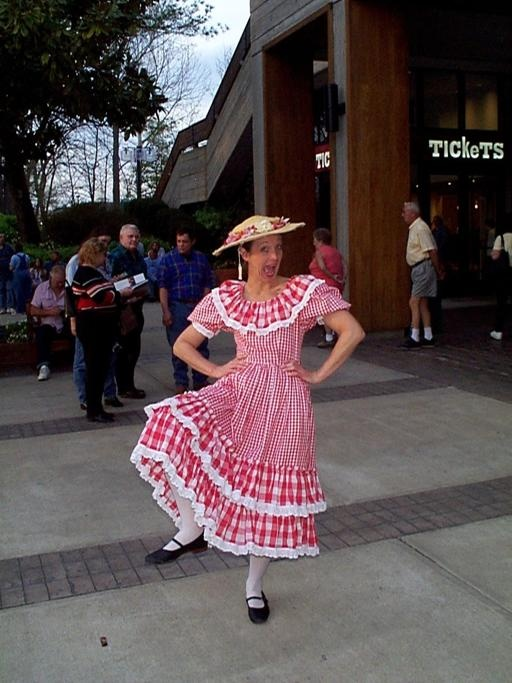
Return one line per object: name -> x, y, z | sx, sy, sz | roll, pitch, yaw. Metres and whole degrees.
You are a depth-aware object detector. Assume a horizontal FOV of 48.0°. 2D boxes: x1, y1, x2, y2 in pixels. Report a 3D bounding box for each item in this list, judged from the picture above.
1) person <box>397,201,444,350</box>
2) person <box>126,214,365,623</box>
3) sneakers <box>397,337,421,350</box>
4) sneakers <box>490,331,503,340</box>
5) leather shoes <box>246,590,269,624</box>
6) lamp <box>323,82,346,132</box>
person -> 2.608, -1.081, 9.019 | 0.554, 2.314, 0.778 | 0, 4, 18
person -> -0.034, 0.235, 2.310 | 0.917, 1.484, 0.443 | -1, 3, 11
sneakers -> 2.370, 0.044, 8.975 | 0.362, 0.190, 0.136 | 3, 2, -13
sneakers -> 3.922, -0.106, 9.363 | 0.088, 0.108, 0.258 | 1, 11, 3
leather shoes -> 0.009, 1.001, 2.172 | 0.085, 0.080, 0.128 | -2, 3, -1
lamp -> 1.310, -3.919, 9.621 | 0.318, 0.728, 0.195 | -1, 3, 1
